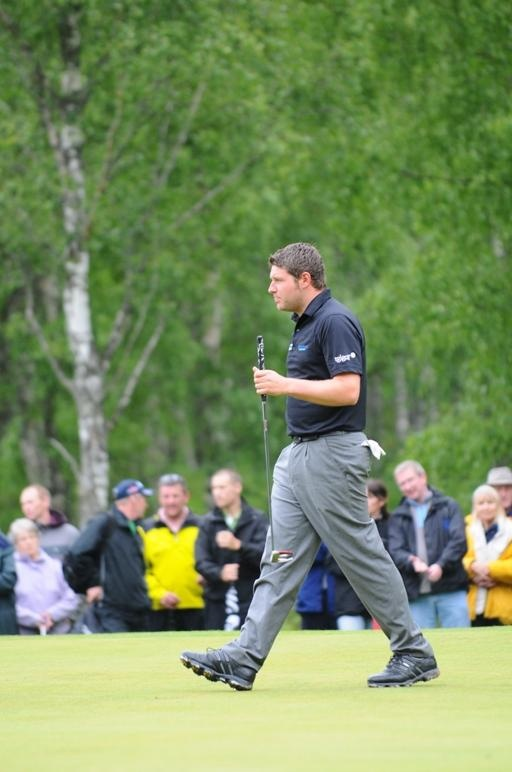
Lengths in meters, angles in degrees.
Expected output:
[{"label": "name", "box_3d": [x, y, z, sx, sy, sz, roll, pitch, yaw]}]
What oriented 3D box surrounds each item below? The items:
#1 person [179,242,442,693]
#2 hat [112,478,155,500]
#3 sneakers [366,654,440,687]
[{"label": "person", "box_3d": [0.276, 0.349, 8.421, 1.031, 2.004, 0.432, -2, -2, 4]}, {"label": "hat", "box_3d": [-0.722, 0.596, 10.785, 0.179, 0.108, 0.119, -5, 7, -9]}, {"label": "sneakers", "box_3d": [0.657, 1.274, 8.428, 0.329, 0.177, 0.130, -1, -6, -16]}]
